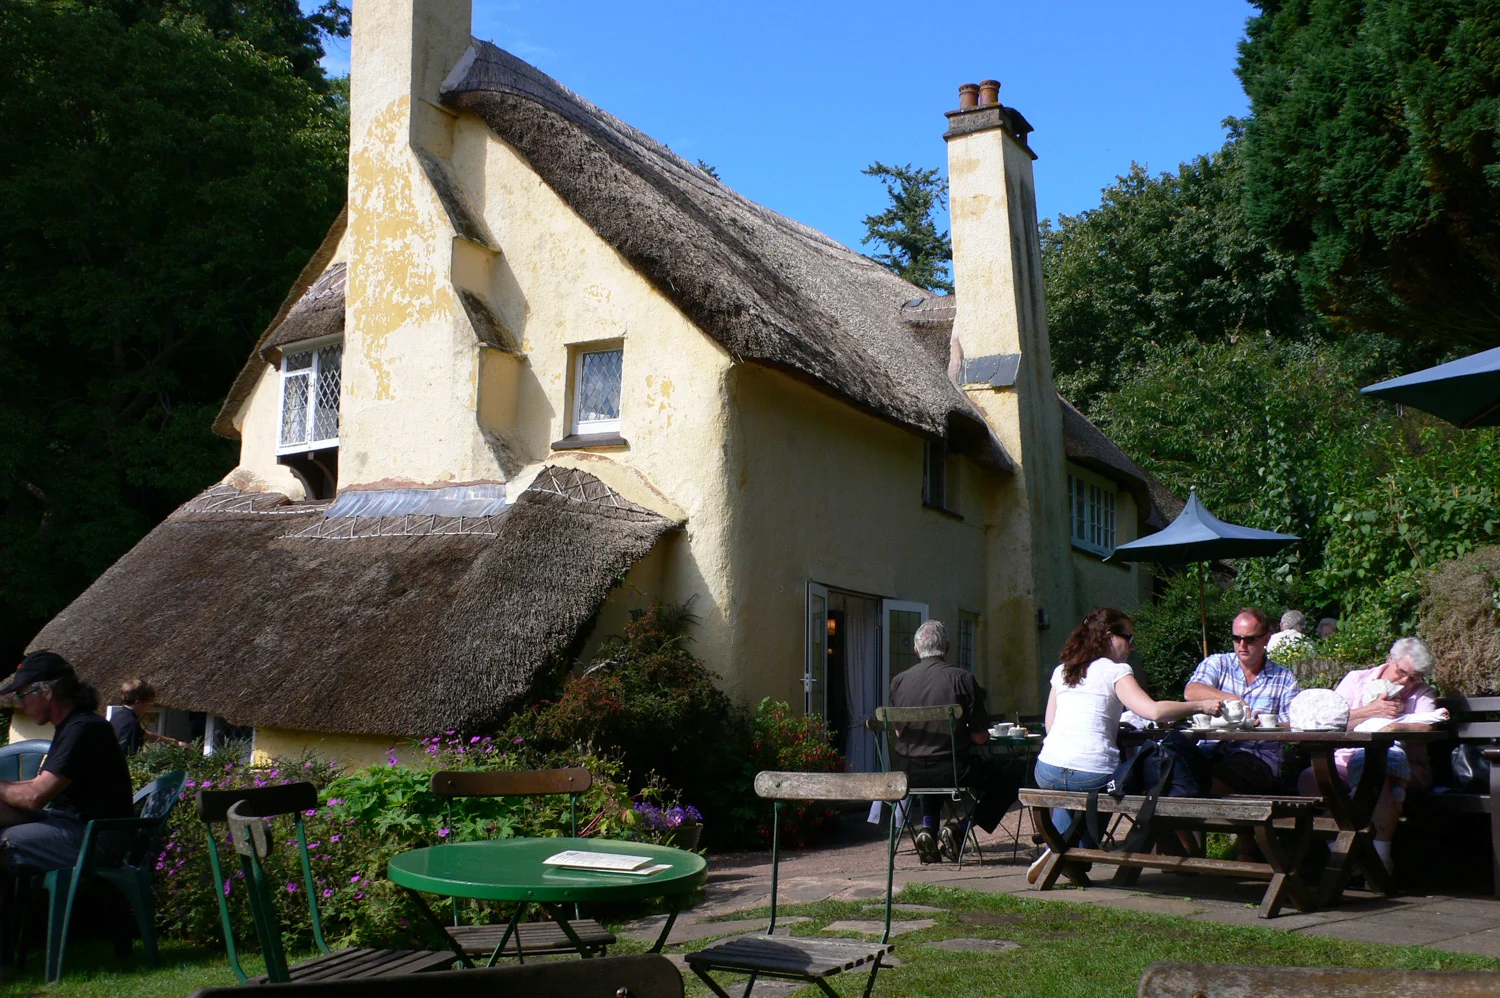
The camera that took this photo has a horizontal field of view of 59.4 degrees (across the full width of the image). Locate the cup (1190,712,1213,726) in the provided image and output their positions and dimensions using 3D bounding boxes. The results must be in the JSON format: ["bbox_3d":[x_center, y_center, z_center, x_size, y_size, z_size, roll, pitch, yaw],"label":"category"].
[{"bbox_3d":[3.768,1.848,11.050,0.100,0.076,0.097,-3,-4,0],"label":"cup"}]

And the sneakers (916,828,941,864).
[{"bbox_3d":[1.669,3.306,12.504,0.169,0.157,0.327,-9,-43,15],"label":"sneakers"}]

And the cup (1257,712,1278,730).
[{"bbox_3d":[4.341,1.879,11.096,0.108,0.089,0.133,3,-9,-16],"label":"cup"}]

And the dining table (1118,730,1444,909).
[{"bbox_3d":[4.212,2.657,10.902,2.385,1.430,1.732,0,-13,-7],"label":"dining table"}]

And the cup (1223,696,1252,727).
[{"bbox_3d":[4.064,1.775,11.036,0.175,0.201,0.225,8,11,16],"label":"cup"}]

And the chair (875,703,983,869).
[{"bbox_3d":[1.698,2.672,12.958,1.217,1.902,1.414,-2,-8,15],"label":"chair"}]
